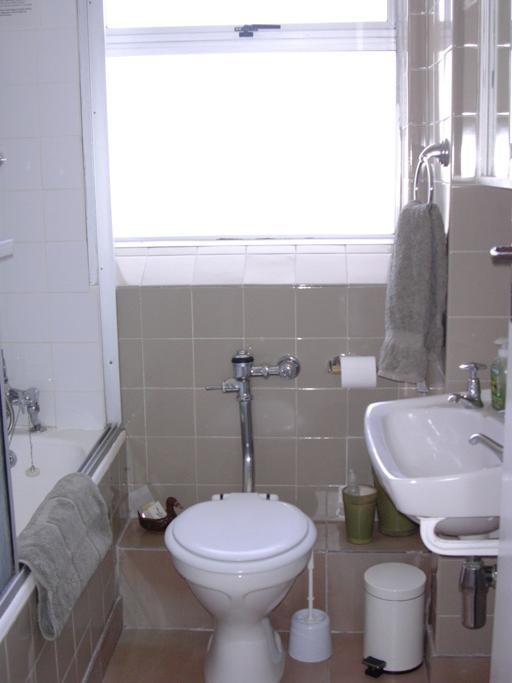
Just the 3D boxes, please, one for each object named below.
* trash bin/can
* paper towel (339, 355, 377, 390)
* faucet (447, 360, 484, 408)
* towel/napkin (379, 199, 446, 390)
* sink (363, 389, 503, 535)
[{"bbox_3d":[0.399,0.798,1.753,0.180,0.275,0.167,-1,12,11],"label":"trash bin/can"},{"bbox_3d":[0.302,0.092,1.801,0.095,0.108,0.083,1,2,0],"label":"paper towel"},{"bbox_3d":[0.524,0.104,1.516,0.084,0.130,0.068,-3,9,-7],"label":"faucet"},{"bbox_3d":[0.419,-0.134,1.640,0.149,0.452,0.187,5,13,33],"label":"towel/napkin"},{"bbox_3d":[0.368,0.233,1.284,0.235,0.135,0.403,-5,16,7],"label":"sink"}]
